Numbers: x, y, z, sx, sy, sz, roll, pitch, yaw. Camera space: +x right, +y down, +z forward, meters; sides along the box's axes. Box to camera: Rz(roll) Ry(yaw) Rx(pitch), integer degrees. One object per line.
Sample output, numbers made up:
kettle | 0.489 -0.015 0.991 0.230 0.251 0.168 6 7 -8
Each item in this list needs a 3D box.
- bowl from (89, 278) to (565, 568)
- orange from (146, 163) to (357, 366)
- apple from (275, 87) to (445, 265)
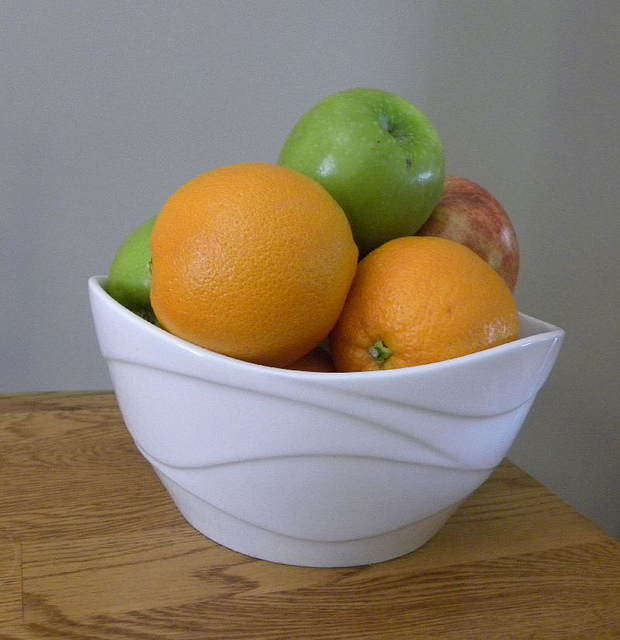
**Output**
bowl | -0.038 0.109 0.797 0.526 0.188 0.373 -1 0 3
orange | -0.061 -0.048 0.683 0.192 0.121 0.141 0 -2 8
apple | 0.037 -0.148 0.816 0.181 0.133 0.180 12 37 26
